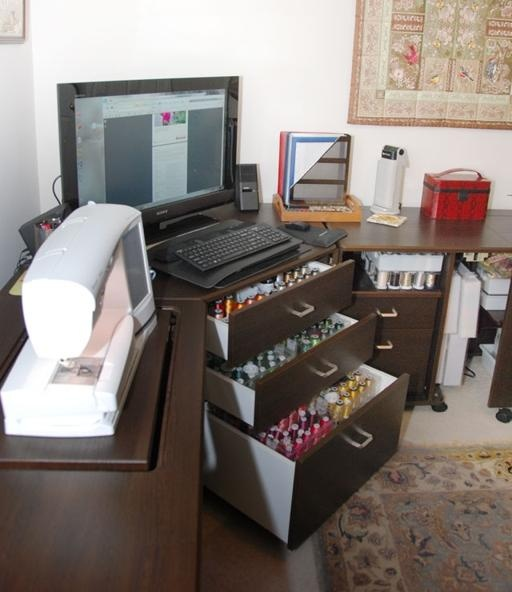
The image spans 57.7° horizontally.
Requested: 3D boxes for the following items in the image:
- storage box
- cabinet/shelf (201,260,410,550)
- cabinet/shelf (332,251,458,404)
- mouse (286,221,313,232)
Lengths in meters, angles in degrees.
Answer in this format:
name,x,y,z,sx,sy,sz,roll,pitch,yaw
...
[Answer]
name,x,y,z,sx,sy,sz,roll,pitch,yaw
storage box,0.841,-0.402,2.015,0.252,0.206,0.257,2,28,4
cabinet/shelf,0.143,0.292,1.463,0.480,0.743,0.614,18,26,37
cabinet/shelf,0.537,0.129,2.054,0.525,0.725,0.532,0,27,6
mouse,0.151,-0.252,1.635,0.065,0.020,0.038,10,27,24
